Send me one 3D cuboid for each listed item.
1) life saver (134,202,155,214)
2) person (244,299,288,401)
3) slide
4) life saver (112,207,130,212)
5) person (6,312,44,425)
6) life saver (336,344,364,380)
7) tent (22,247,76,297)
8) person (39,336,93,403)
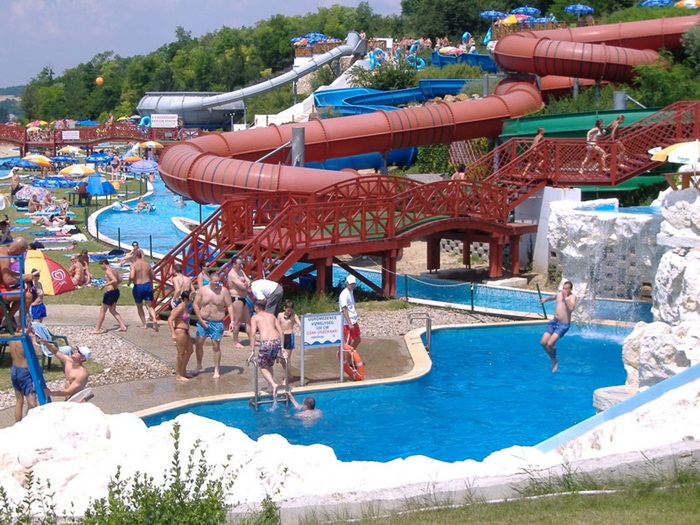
[{"bbox_3d":[-8.827,-2.279,40.943,0.523,0.210,0.538,8,12,38],"label":"life saver"},{"bbox_3d":[-1.553,1.528,17.265,0.709,1.757,0.906,-4,0,-2],"label":"person"},{"bbox_3d":[2.522,-4.893,29.802,16.464,4.997,4.984,-7,10,-27],"label":"slide"},{"bbox_3d":[-9.733,-2.222,40.836,0.720,0.205,0.348,1,9,19],"label":"life saver"},{"bbox_3d":[-5.202,1.902,15.313,0.310,1.384,0.690,-7,10,-28],"label":"person"},{"bbox_3d":[0.002,1.874,18.329,0.403,0.722,0.552,-2,9,1],"label":"life saver"},{"bbox_3d":[-6.025,0.215,19.322,0.854,0.469,0.862,2,7,2],"label":"tent"},{"bbox_3d":[-4.704,1.884,15.926,0.724,1.153,0.642,-5,18,-35],"label":"person"}]
